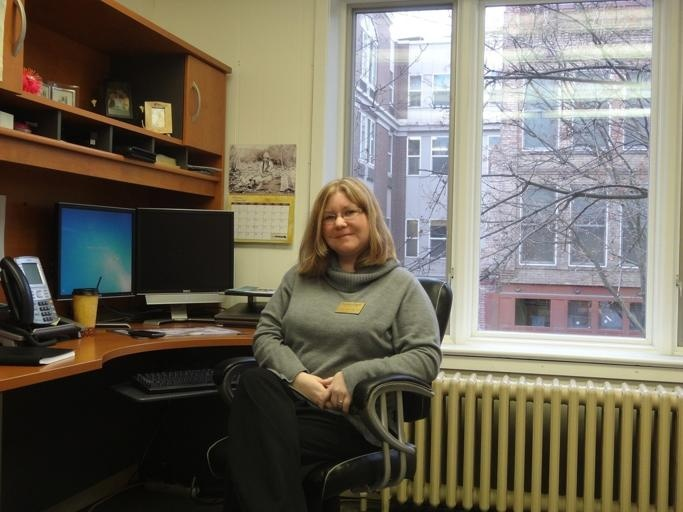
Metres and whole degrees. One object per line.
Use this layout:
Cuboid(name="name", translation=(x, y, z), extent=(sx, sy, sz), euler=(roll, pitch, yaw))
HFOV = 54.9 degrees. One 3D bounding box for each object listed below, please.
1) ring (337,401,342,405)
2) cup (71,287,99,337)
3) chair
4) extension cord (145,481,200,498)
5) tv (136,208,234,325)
Cuboid(name="ring", translation=(-0.009, 0.572, 2.552), extent=(0.014, 0.018, 0.015), euler=(1, 6, 0))
Cuboid(name="cup", translation=(-1.245, 0.254, 3.194), extent=(0.183, 0.230, 0.180), euler=(-1, 1, 0))
Cuboid(name="chair", translation=(-0.057, 0.611, 2.900), extent=(0.894, 1.027, 0.801), euler=(12, -15, -43))
Cuboid(name="extension cord", translation=(-0.908, 1.247, 3.534), extent=(0.280, 0.048, 0.067), euler=(3, -9, 8))
Cuboid(name="tv", translation=(-0.844, 0.040, 3.526), extent=(0.617, 0.676, 0.222), euler=(1, -9, -16))
